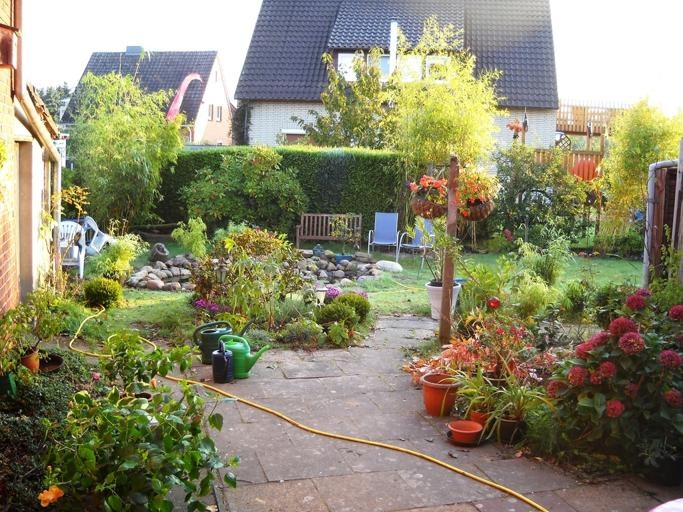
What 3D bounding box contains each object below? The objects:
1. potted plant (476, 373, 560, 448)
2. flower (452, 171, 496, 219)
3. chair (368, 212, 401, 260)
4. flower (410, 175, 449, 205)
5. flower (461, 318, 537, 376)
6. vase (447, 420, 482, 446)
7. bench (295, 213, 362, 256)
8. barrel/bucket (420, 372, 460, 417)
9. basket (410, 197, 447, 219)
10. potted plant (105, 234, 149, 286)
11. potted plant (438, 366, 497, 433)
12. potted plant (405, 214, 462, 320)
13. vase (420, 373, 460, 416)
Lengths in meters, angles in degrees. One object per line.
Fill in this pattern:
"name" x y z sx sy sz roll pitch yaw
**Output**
"potted plant" 1.270 1.255 4.320 0.493 0.420 0.572 1 -13 35
"flower" 1.578 -0.725 6.441 0.487 0.618 0.568 -1 4 7
"chair" 1.027 -0.510 12.518 0.744 1.094 0.834 4 4 21
"flower" 1.154 -0.901 7.150 0.541 0.350 0.628 5 12 2
"flower" 1.372 0.786 4.775 0.510 0.457 0.699 5 11 23
"vase" 0.956 1.351 4.214 0.172 0.088 0.182 4 7 27
"bench" -0.309 -0.644 13.374 1.562 0.848 1.019 2 10 4
"barrel/bucket" 0.834 1.220 4.750 0.298 0.253 0.312 7 -5 1
"basket" 1.100 -0.588 6.618 0.336 0.265 0.610 -4 11 -25
"potted plant" -3.920 -0.036 9.998 0.615 0.767 1.835 -2 11 -16
"potted plant" 1.072 1.160 4.512 0.391 0.433 0.393 1 -1 -41
"potted plant" 1.439 0.104 7.490 0.605 1.455 0.705 -9 10 -41
"vase" 0.797 1.242 4.770 0.295 0.254 0.323 -3 -16 22
